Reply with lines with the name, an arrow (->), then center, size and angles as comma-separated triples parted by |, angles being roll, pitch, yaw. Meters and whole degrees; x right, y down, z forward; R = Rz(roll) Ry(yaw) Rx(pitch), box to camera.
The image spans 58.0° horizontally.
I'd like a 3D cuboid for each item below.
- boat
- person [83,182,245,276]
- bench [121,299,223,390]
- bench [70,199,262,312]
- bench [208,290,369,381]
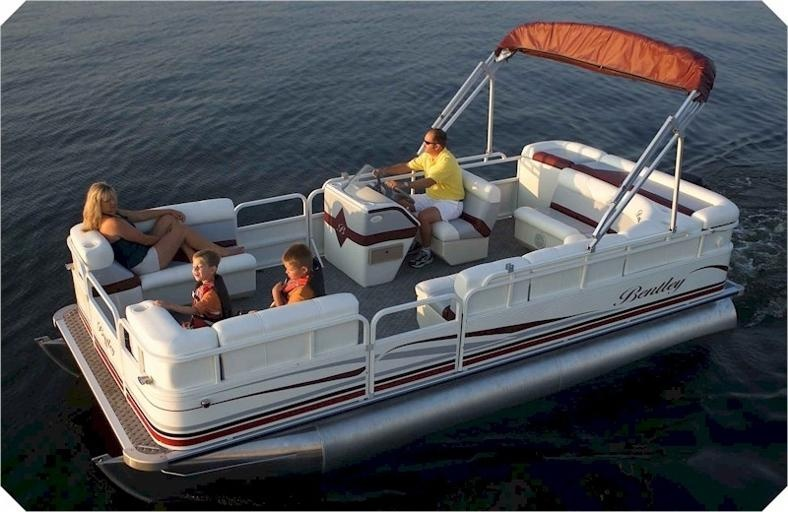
boat -> 0.069, -0.213, 10.113 | 9.239, 3.092, 4.443 | -11, 30, -18
person -> -3.103, -0.355, 9.595 | 2.345, 0.975, 0.692 | -5, 20, -37
bench -> -2.487, 0.985, 8.058 | 0.993, 0.752, 1.361 | -13, 25, -35
bench -> -3.000, 0.160, 9.641 | 2.114, 0.761, 1.072 | -11, 18, -19
bench -> -1.394, 0.977, 8.353 | 0.656, 0.795, 2.135 | 12, 13, 38
